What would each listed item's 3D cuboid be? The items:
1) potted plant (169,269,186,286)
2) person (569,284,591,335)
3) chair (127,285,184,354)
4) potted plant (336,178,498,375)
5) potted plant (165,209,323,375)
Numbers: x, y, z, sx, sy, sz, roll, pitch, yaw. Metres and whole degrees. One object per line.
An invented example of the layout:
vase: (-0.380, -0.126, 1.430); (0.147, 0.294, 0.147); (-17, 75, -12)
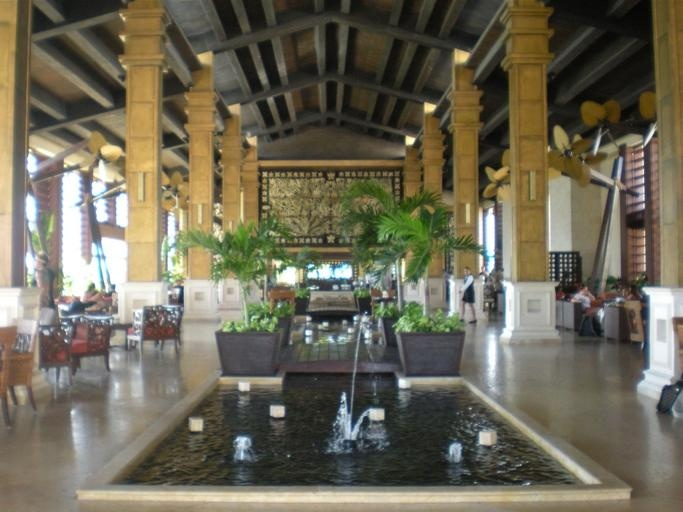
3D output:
potted plant: (-5.443, 0.727, 19.964); (0.495, 0.448, 0.504); (0, -7, 1)
person: (4.935, 1.142, 12.483); (0.268, 0.534, 0.968); (0, -1, 9)
chair: (-3.131, 1.181, 10.071); (0.690, 0.913, 0.895); (1, -1, -24)
potted plant: (0.983, 0.249, 8.562); (1.606, 2.617, 2.068); (-1, 5, -8)
potted plant: (-1.314, 0.592, 9.000); (2.330, 2.841, 2.289); (-1, -6, -2)
